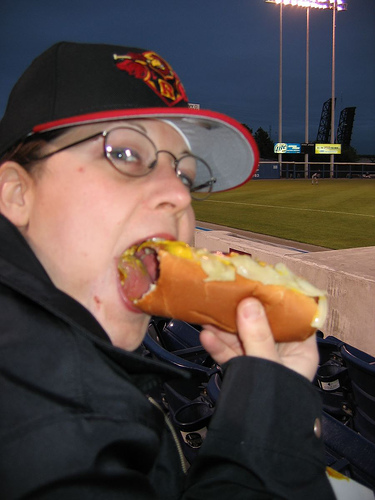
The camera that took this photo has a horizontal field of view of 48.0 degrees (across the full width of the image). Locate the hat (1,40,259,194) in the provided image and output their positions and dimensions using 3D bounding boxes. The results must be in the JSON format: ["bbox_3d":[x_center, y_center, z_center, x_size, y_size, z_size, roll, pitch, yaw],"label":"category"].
[{"bbox_3d":[-0.088,-0.506,1.701,1.146,0.453,0.766,1,6,-6],"label":"hat"}]

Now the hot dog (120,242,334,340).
[{"bbox_3d":[0.112,0.132,1.629,0.816,0.212,0.362,11,7,2],"label":"hot dog"}]
